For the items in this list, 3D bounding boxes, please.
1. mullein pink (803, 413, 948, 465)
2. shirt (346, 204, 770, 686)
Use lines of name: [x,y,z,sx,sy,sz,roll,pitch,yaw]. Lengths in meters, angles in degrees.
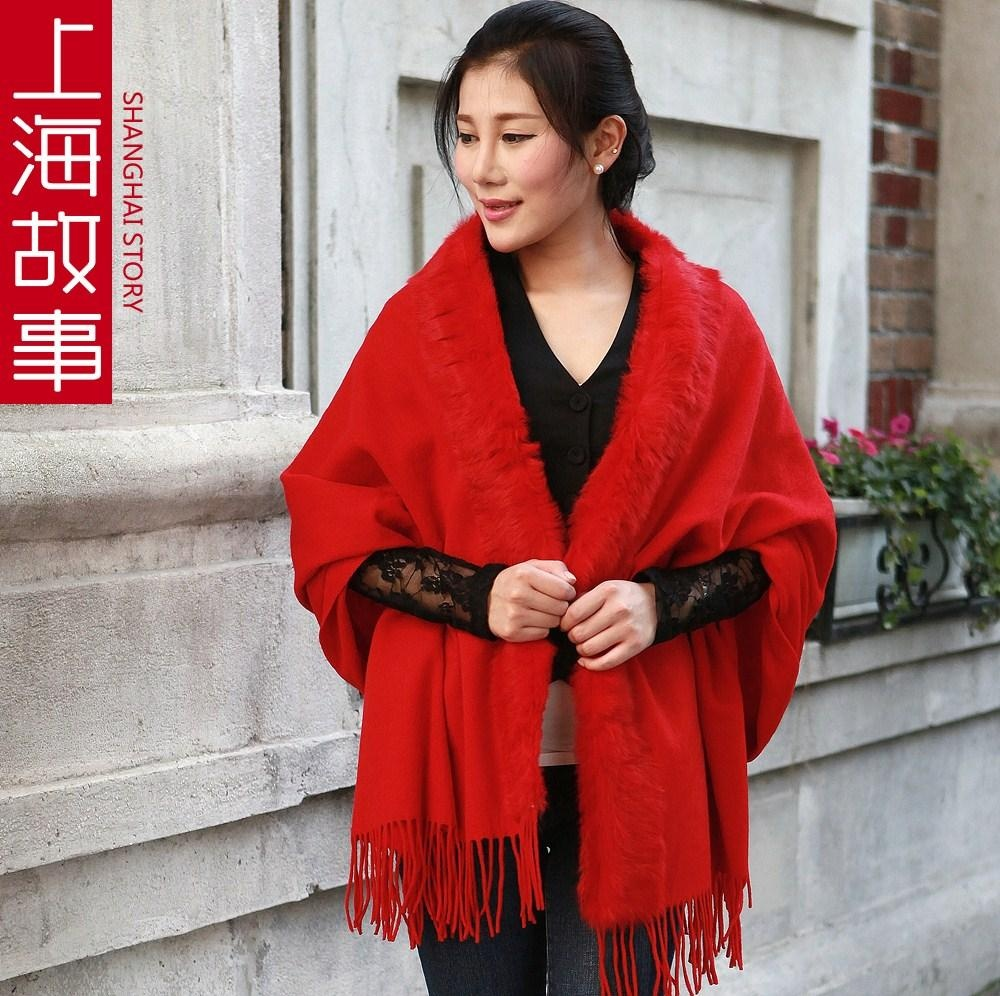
mullein pink: [0.860,-0.131,3.367,0.199,0.078,0.207,-4,1,40]
shirt: [0.074,-0.046,1.865,0.467,0.659,0.190,0,-2,-1]
